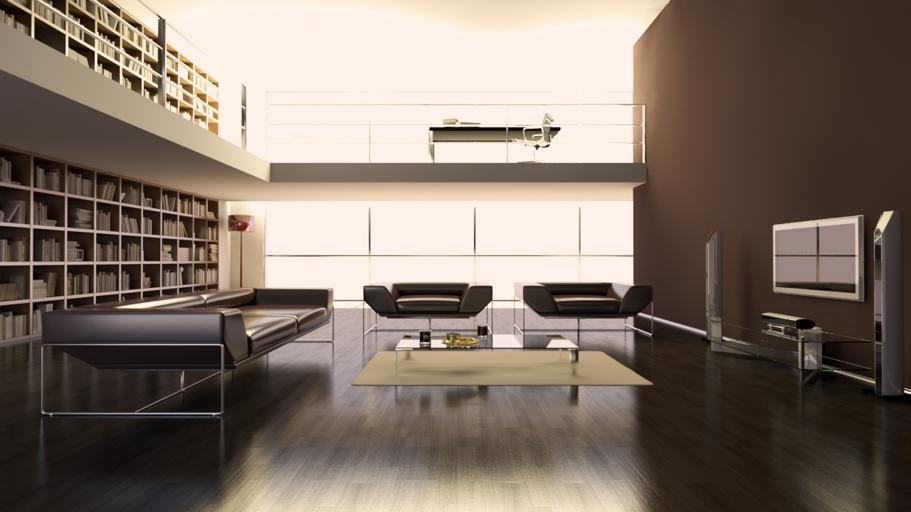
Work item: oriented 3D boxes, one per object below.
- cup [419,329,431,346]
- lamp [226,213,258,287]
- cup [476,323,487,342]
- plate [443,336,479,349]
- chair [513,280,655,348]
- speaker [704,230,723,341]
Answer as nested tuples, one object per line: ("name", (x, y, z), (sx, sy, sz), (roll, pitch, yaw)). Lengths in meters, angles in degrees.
("cup", (-0.336, 0.925, 6.517), (0.158, 0.166, 0.148), (1, -1, 0))
("lamp", (-4.586, -0.181, 12.345), (0.713, 1.659, 1.002), (-3, 10, -15))
("cup", (0.313, 0.910, 6.809), (0.149, 0.211, 0.143), (1, -1, 0))
("plate", (0.057, 0.951, 6.431), (0.406, 0.119, 0.188), (0, 9, -1))
("chair", (1.932, 0.772, 8.444), (1.993, 0.845, 1.478), (0, 9, -3))
("speaker", (3.379, 0.260, 7.484), (0.289, 1.274, 0.118), (-15, 17, -37))
